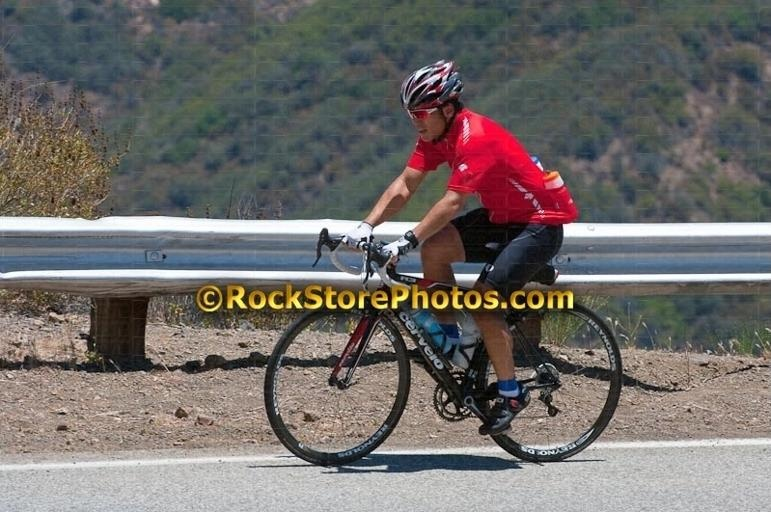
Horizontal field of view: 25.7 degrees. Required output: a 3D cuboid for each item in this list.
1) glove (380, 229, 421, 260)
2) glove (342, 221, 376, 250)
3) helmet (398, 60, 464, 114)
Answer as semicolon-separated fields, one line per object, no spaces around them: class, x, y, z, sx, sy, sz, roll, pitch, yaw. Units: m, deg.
glove;0.131;-0.085;13.035;0.257;0.199;0.114;-24;93;3
glove;-0.163;-0.159;13.076;0.288;0.129;0.175;-43;77;-16
helmet;0.365;-1.314;13.060;0.340;0.242;0.481;37;56;22
